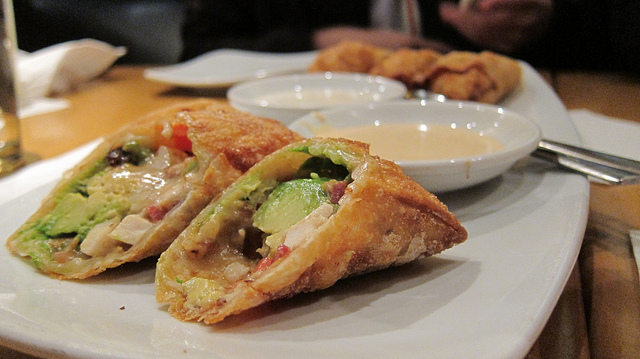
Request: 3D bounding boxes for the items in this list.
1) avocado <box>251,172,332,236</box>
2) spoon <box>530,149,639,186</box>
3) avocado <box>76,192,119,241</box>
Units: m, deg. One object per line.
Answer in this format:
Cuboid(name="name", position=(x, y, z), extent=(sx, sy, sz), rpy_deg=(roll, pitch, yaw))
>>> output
Cuboid(name="avocado", position=(-0.116, 0.109, 2.472), extent=(0.361, 0.112, 0.232), rpy_deg=(-30, 53, -19))
Cuboid(name="spoon", position=(1.446, -0.077, 2.855), extent=(0.535, 0.039, 0.144), rpy_deg=(21, 47, 37))
Cuboid(name="avocado", position=(-1.164, 0.171, 2.661), extent=(0.254, 0.124, 0.164), rpy_deg=(-28, 51, -22))
